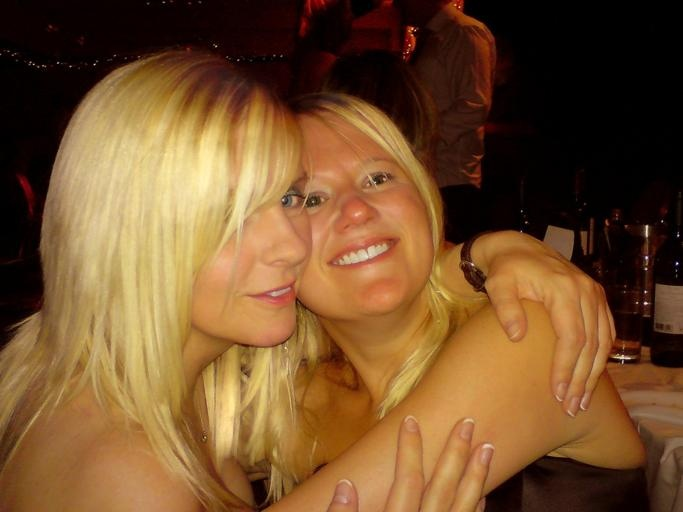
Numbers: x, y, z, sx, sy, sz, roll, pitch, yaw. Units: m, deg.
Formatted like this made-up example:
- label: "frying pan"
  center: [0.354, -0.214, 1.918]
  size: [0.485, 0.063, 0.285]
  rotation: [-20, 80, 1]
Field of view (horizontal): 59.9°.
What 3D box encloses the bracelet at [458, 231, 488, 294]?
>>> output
- label: "bracelet"
  center: [0.593, 0.036, 2.756]
  size: [0.084, 0.214, 0.149]
  rotation: [-26, -37, 35]
